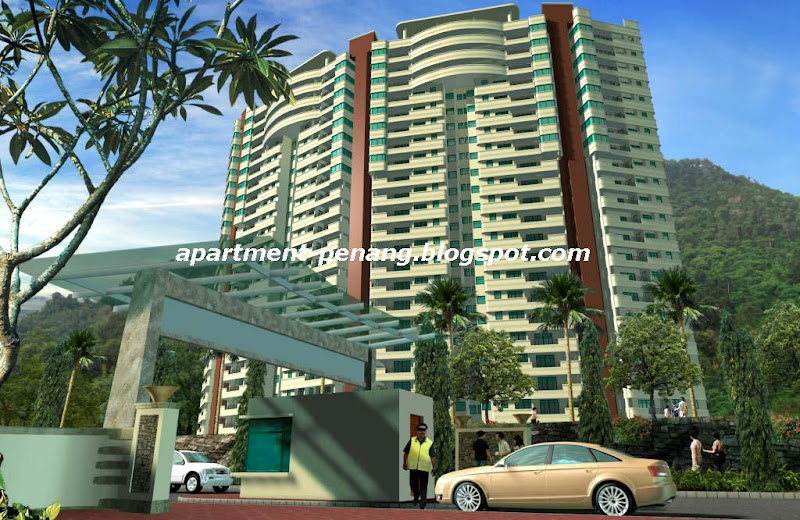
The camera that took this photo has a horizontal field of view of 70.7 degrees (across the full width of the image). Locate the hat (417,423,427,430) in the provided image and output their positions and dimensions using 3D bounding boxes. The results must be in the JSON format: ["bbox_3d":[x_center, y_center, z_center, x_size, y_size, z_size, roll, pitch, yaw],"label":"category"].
[{"bbox_3d":[0.650,5.175,17.583,0.484,0.192,0.502,1,-6,-3],"label":"hat"}]
